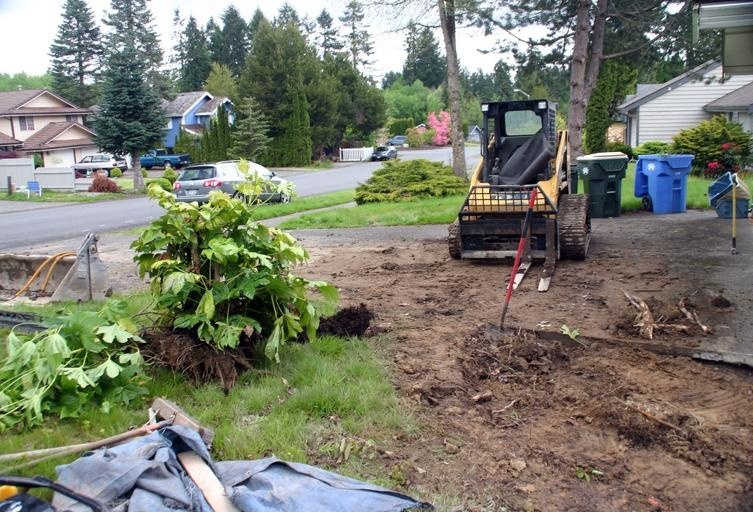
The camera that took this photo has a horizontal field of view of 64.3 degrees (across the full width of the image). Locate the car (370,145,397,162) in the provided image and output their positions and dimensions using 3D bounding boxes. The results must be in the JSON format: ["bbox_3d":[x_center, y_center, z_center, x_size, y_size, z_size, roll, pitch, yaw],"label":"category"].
[{"bbox_3d":[0.559,-8.773,51.237,2.102,1.395,4.215,-1,9,-3],"label":"car"}]

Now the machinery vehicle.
[{"bbox_3d":[2.798,-1.455,11.393,2.309,3.125,2.928,3,10,22],"label":"machinery vehicle"}]

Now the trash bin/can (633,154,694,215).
[{"bbox_3d":[7.492,-1.915,15.854,1.417,1.523,1.147,7,12,42],"label":"trash bin/can"}]
